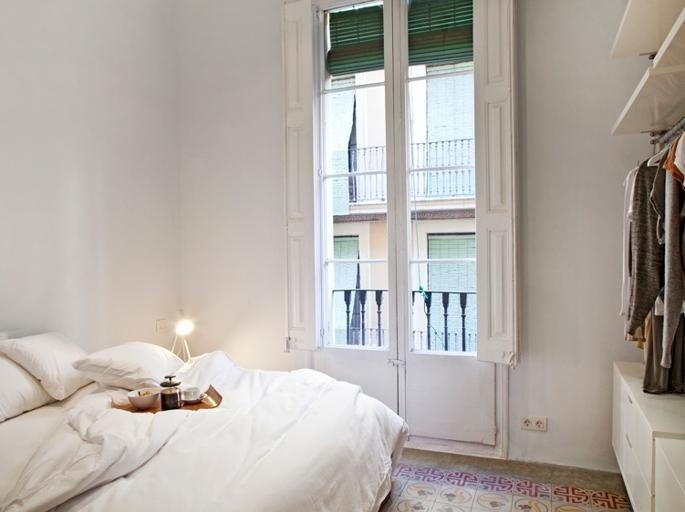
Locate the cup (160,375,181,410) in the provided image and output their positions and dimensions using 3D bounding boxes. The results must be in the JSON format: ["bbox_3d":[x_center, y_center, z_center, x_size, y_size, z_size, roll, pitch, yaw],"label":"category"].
[{"bbox_3d":[-1.064,0.816,3.214,0.106,0.210,0.183,0,-8,-3],"label":"cup"}]

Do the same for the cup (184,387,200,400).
[{"bbox_3d":[-0.909,0.822,3.211,0.068,0.055,0.072,-1,-2,0],"label":"cup"}]

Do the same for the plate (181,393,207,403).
[{"bbox_3d":[-0.894,0.838,3.194,0.086,0.045,0.071,0,-3,-6],"label":"plate"}]
